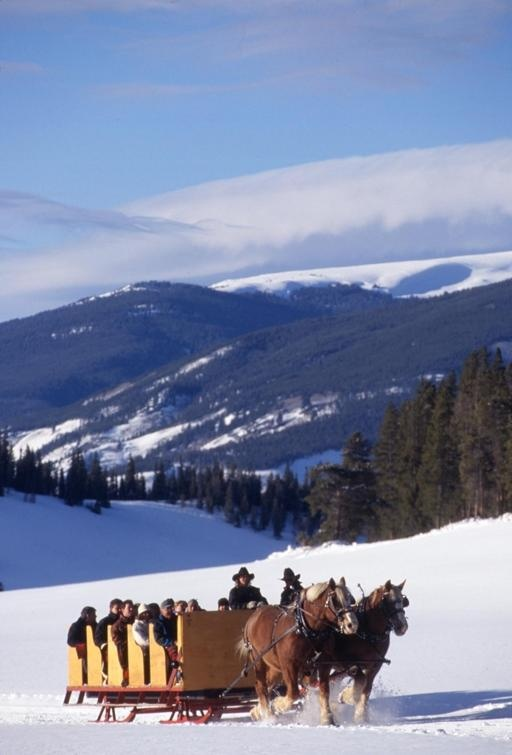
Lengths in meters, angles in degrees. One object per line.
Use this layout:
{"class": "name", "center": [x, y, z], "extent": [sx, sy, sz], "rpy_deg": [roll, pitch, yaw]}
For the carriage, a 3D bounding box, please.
{"class": "carriage", "center": [-0.661, 6.428, 46.494], "extent": [7.837, 3.718, 5.849], "rpy_deg": [-5, -6, 43]}
